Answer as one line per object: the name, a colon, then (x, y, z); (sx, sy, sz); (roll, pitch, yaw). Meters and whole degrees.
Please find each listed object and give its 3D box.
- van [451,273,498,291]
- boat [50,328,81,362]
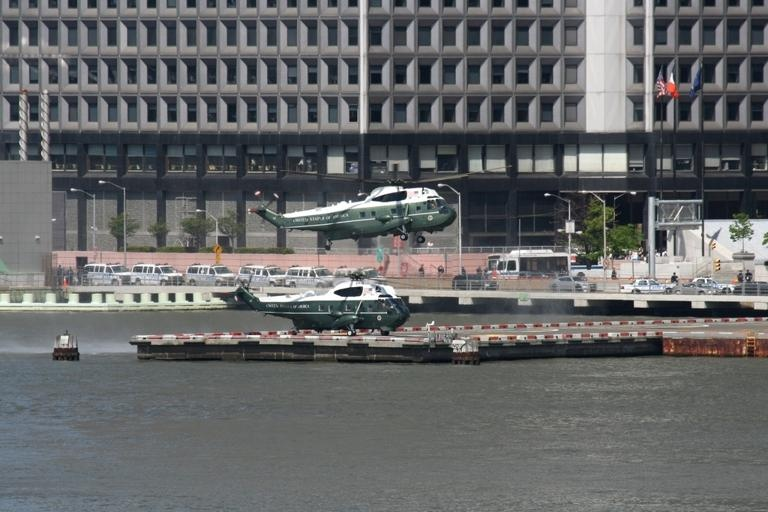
van: (11.696, 3.337, 318.767); (5.572, 1.822, 1.917); (-1, -2, 2)
boat: (-37.775, 10.843, 290.753); (3.690, 4.286, 3.493); (1, -6, -18)
